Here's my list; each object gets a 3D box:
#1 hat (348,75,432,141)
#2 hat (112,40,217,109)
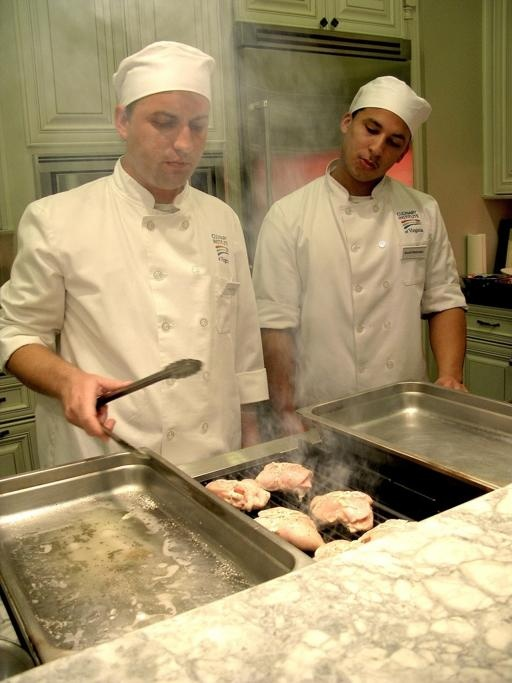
[{"bbox_3d":[0.375,-0.729,1.671,0.316,0.113,0.221,0,41,-13],"label":"hat"},{"bbox_3d":[-0.197,-0.558,1.152,0.153,0.089,0.181,-4,-1,-31],"label":"hat"}]
